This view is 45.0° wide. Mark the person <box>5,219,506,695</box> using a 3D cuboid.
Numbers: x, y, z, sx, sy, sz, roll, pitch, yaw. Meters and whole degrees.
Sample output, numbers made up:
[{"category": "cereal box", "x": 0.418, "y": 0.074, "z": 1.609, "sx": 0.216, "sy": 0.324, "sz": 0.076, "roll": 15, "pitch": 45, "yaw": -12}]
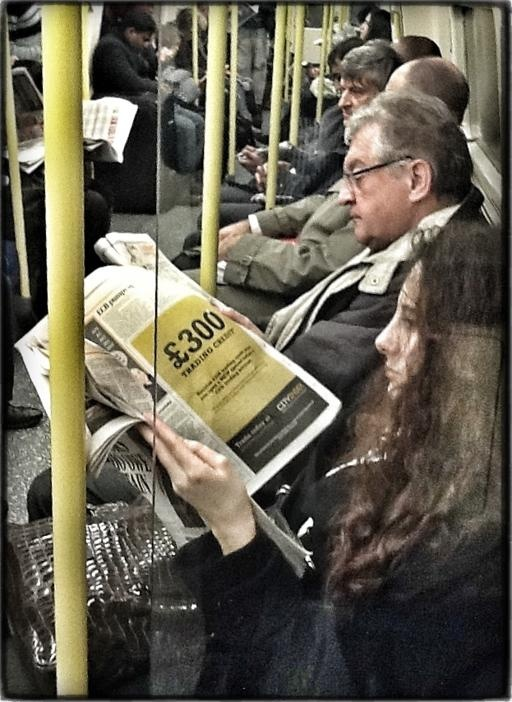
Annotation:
[{"category": "person", "x": 0.207, "y": 0.171, "z": 1.262, "sx": 0.532, "sy": 0.788, "sz": 0.226, "roll": 2, "pitch": 4, "yaw": -1}]
